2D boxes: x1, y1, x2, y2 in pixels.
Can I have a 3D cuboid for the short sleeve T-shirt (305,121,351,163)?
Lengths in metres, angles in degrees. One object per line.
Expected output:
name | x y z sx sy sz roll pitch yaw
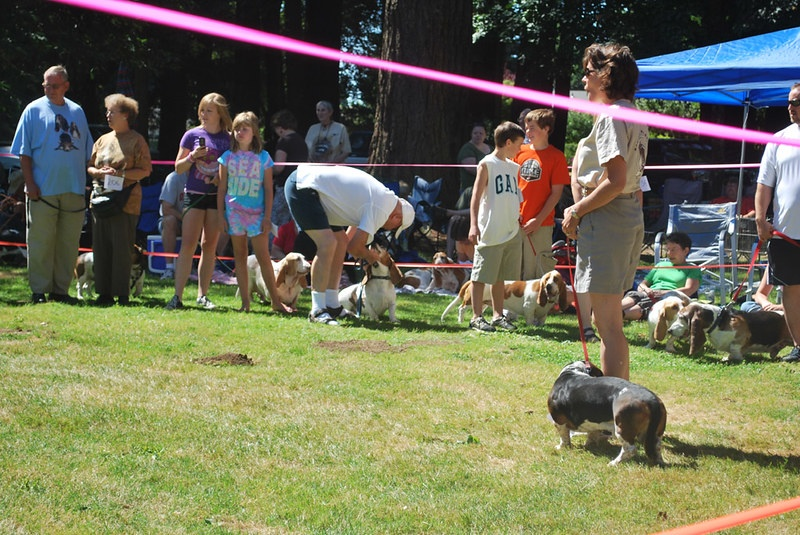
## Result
short sleeve T-shirt | -1.165 -1.913 14.670 0.765 0.690 0.435 5 10 18

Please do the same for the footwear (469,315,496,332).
footwear | 0.945 0.660 10.928 0.291 0.118 0.143 2 1 40

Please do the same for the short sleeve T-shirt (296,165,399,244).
short sleeve T-shirt | -0.640 -0.795 10.644 0.974 0.479 0.943 6 17 -2

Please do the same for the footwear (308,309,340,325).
footwear | -0.908 0.591 10.979 0.410 0.157 0.152 2 1 43

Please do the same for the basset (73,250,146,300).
basset | -3.664 0.084 11.876 1.273 0.567 0.356 -1 5 19

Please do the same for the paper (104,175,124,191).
paper | -3.363 -0.985 11.029 0.190 0.148 0.014 4 -2 -12

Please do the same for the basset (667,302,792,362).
basset | 3.543 0.706 10.142 1.273 0.496 0.406 4 3 -11

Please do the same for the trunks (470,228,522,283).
trunks | 1.087 -0.146 10.770 0.600 0.543 0.334 -3 14 -26

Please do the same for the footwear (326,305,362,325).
footwear | -0.702 0.572 11.233 0.506 0.190 0.169 1 6 19

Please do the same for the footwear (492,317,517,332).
footwear | 1.252 0.675 11.080 0.357 0.144 0.125 4 6 9
